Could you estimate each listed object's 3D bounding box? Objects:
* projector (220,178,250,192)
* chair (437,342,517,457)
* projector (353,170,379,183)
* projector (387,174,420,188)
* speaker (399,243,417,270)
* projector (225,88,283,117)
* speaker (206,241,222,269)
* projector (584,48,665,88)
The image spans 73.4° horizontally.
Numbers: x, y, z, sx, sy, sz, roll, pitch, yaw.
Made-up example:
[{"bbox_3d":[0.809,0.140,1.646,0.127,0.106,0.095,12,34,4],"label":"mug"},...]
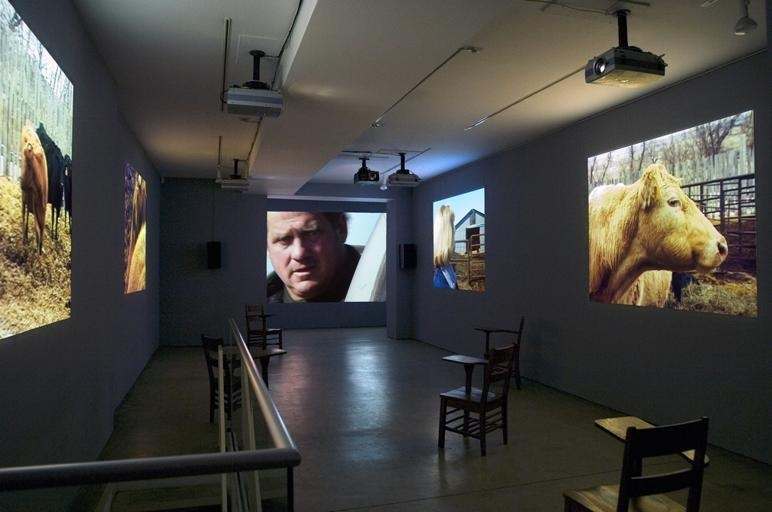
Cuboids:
[{"bbox_3d":[-2.724,-1.293,9.305,0.455,0.220,0.538,2,0,-12],"label":"projector"},{"bbox_3d":[1.064,1.490,5.996,0.773,1.110,1.559,2,0,14],"label":"chair"},{"bbox_3d":[-0.356,-1.421,9.255,0.369,0.226,0.347,0,1,-11],"label":"projector"},{"bbox_3d":[0.298,-1.336,9.129,0.448,0.155,0.420,0,-2,-14],"label":"projector"},{"bbox_3d":[0.496,0.005,11.766,0.411,0.565,0.203,2,0,4],"label":"speaker"},{"bbox_3d":[-1.344,-1.549,5.276,0.405,0.145,0.304,1,-4,-18],"label":"projector"},{"bbox_3d":[-3.748,-0.012,11.351,0.364,0.646,0.261,2,0,-36],"label":"speaker"},{"bbox_3d":[2.156,-1.612,4.660,0.539,0.235,0.361,0,0,-17],"label":"projector"}]
